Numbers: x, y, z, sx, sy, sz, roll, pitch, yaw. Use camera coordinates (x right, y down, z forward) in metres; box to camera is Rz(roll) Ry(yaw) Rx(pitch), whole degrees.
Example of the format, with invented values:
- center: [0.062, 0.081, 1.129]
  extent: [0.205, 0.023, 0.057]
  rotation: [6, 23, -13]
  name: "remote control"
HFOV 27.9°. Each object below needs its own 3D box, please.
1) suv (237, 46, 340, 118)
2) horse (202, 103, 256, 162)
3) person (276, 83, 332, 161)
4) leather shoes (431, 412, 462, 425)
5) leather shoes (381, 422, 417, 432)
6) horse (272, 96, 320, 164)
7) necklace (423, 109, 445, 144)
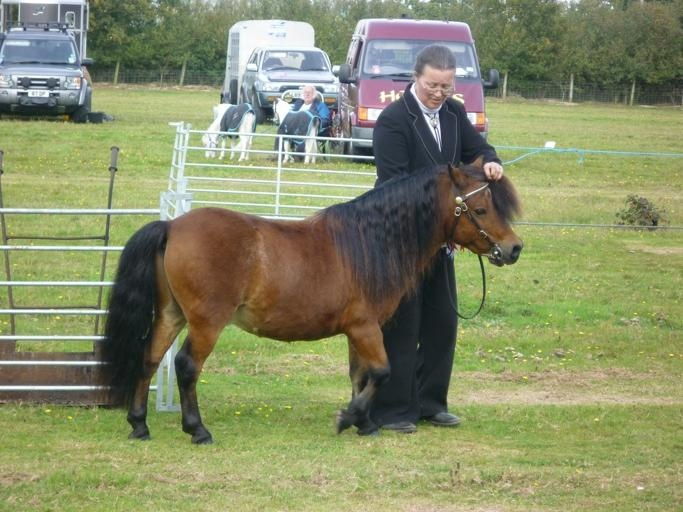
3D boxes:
- center: [-1.362, -5.102, 39.201]
  extent: [2.516, 2.081, 4.684]
  rotation: [0, 12, -8]
  name: "suv"
- center: [-2.640, -3.128, 33.262]
  extent: [0.591, 1.360, 2.102]
  rotation: [7, -1, -29]
  name: "horse"
- center: [-1.030, -3.174, 32.939]
  extent: [0.679, 1.429, 2.275]
  rotation: [-13, 10, -25]
  name: "person"
- center: [1.614, 2.530, 21.538]
  extent: [0.358, 0.133, 0.203]
  rotation: [0, 10, 22]
  name: "leather shoes"
- center: [0.912, 2.624, 21.341]
  extent: [0.365, 0.135, 0.216]
  rotation: [-3, 1, 7]
  name: "leather shoes"
- center: [-1.058, -3.095, 32.700]
  extent: [0.585, 1.239, 1.807]
  rotation: [-14, 13, -32]
  name: "horse"
- center: [1.438, -2.035, 21.296]
  extent: [0.105, 0.613, 0.188]
  rotation: [-11, 2, 41]
  name: "necklace"
